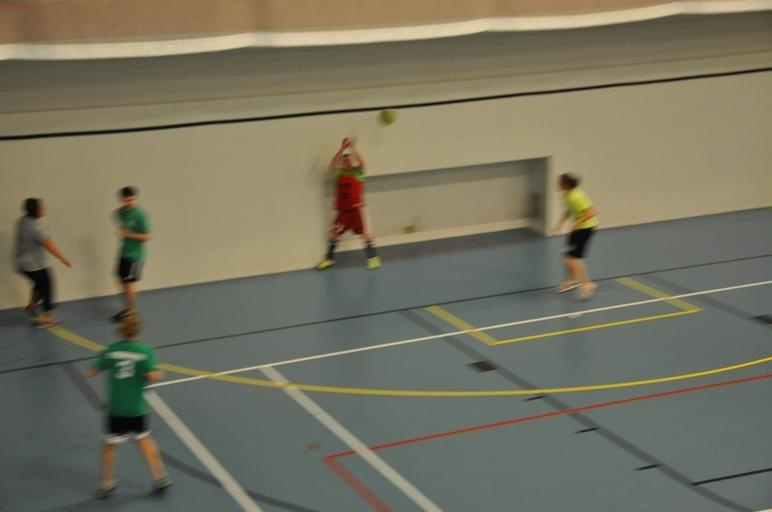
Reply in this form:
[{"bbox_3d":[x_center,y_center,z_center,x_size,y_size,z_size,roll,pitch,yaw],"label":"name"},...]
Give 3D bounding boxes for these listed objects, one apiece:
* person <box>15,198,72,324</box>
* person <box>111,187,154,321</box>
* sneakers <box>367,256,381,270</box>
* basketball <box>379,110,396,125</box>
[{"bbox_3d":[-6.573,0.047,16.750,1.115,2.553,1.103,31,35,26],"label":"person"},{"bbox_3d":[-4.925,-0.088,16.673,0.728,2.532,1.244,-10,16,-28],"label":"person"},{"bbox_3d":[-0.241,0.150,18.862,0.229,0.266,0.288,1,1,21],"label":"sneakers"},{"bbox_3d":[0.013,-2.996,19.027,0.275,0.311,0.184,-7,22,-4],"label":"basketball"}]
